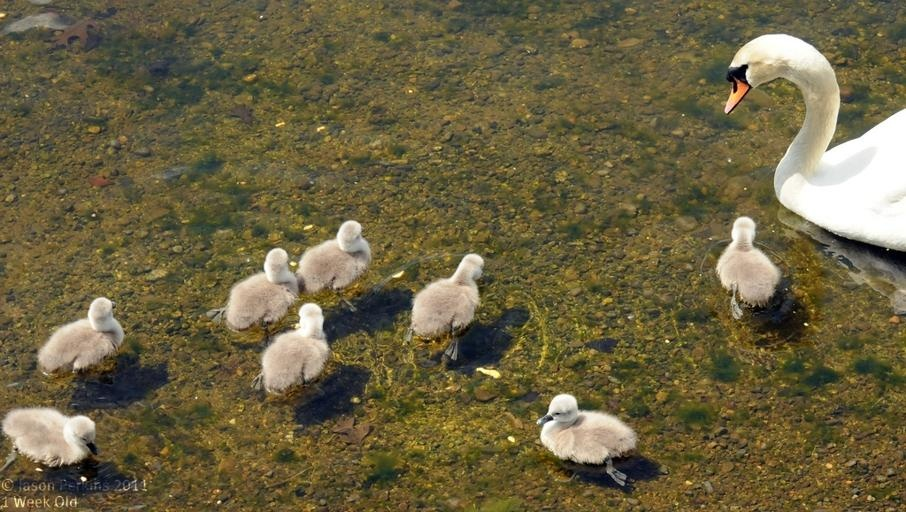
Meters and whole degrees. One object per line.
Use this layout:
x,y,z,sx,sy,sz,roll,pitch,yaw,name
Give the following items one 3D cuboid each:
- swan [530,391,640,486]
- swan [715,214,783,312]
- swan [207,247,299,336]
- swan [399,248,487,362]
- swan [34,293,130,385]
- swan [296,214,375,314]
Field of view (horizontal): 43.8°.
2.000,2.643,16.607,1.479,0.725,0.837,22,56,14,swan
4.642,0.224,17.756,0.834,0.753,1.304,-12,54,-11,swan
-3.205,0.561,17.806,1.653,1.056,0.957,-15,36,-10,swan
-0.137,0.795,17.616,0.981,0.681,1.546,13,53,7,swan
-5.768,1.272,17.235,1.383,0.887,0.753,-26,59,-20,swan
-1.936,0.064,17.889,1.227,0.823,0.779,-18,57,-15,swan
